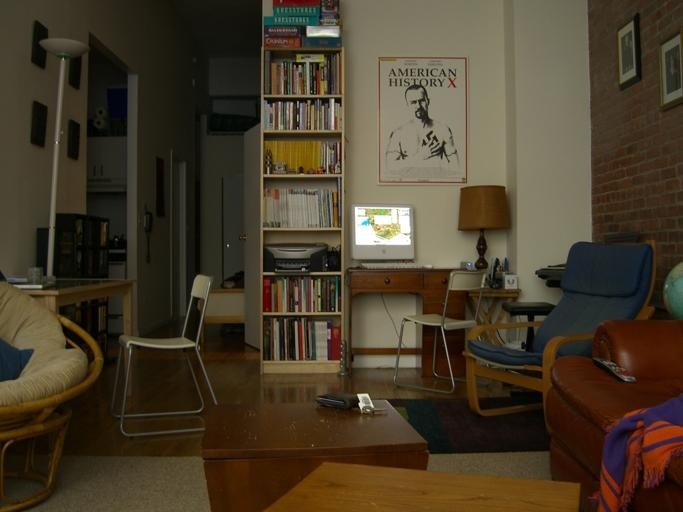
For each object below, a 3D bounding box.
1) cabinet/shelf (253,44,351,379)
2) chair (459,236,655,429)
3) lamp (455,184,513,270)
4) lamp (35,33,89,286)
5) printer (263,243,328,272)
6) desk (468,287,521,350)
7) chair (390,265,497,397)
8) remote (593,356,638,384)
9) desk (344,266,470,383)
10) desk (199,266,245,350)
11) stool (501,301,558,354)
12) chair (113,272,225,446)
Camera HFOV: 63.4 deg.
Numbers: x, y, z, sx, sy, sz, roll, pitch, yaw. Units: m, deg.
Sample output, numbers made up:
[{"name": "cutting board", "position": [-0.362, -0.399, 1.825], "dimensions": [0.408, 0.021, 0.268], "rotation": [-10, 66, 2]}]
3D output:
[{"name": "cabinet/shelf", "position": [-0.370, -0.812, 5.221], "dimensions": [0.803, 3.067, 0.414], "rotation": [0, -5, -7]}, {"name": "chair", "position": [1.518, 0.535, 3.852], "dimensions": [1.102, 1.295, 0.904], "rotation": [-1, 0, -23]}, {"name": "lamp", "position": [1.371, -0.263, 5.388], "dimensions": [0.492, 0.804, 0.506], "rotation": [1, 1, 28]}, {"name": "lamp", "position": [-2.181, -1.063, 4.321], "dimensions": [0.329, 1.717, 0.347], "rotation": [-1, -34, -22]}, {"name": "printer", "position": [-0.436, 0.014, 5.248], "dimensions": [0.596, 0.260, 0.143], "rotation": [0, 0, -11]}, {"name": "desk", "position": [1.362, 0.646, 5.310], "dimensions": [0.433, 0.632, 0.456], "rotation": [-4, -1, 16]}, {"name": "chair", "position": [0.862, 0.637, 4.798], "dimensions": [0.556, 1.045, 0.601], "rotation": [2, 0, -39]}, {"name": "remote", "position": [1.462, 0.601, 2.951], "dimensions": [0.082, 0.032, 0.148], "rotation": [19, 9, -19]}, {"name": "desk", "position": [0.601, 0.625, 5.266], "dimensions": [1.039, 1.037, 0.461], "rotation": [0, 0, 1]}, {"name": "desk", "position": [-1.380, 0.676, 6.822], "dimensions": [0.588, 0.821, 0.599], "rotation": [0, 0, -3]}, {"name": "stool", "position": [1.534, 0.576, 4.513], "dimensions": [0.380, 0.435, 0.377], "rotation": [-2, -4, 7]}, {"name": "chair", "position": [-1.341, 0.730, 4.227], "dimensions": [0.740, 1.159, 0.650], "rotation": [1, -1, -18]}]
